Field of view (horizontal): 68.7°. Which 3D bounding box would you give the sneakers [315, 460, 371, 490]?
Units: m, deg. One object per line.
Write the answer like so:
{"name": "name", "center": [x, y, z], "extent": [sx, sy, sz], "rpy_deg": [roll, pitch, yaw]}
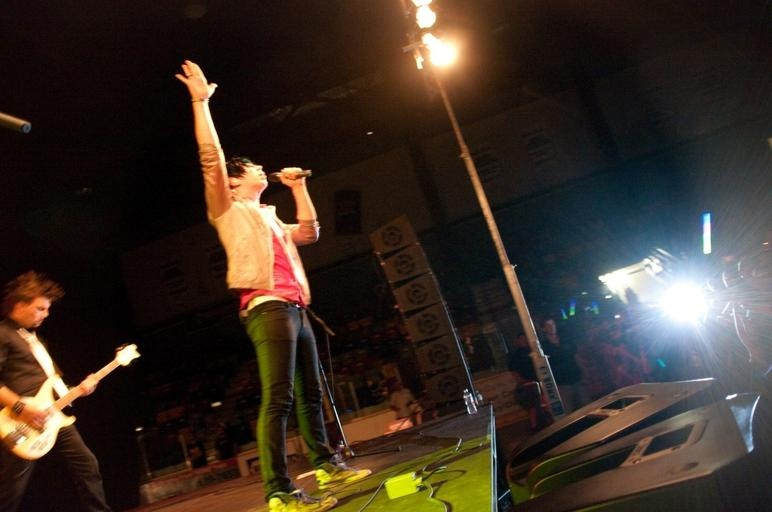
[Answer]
{"name": "sneakers", "center": [-0.505, 2.326, 6.006], "extent": [0.700, 0.252, 0.236], "rpy_deg": [-5, -3, -3]}

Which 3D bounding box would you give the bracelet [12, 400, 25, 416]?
{"name": "bracelet", "center": [-4.742, 1.944, 7.244], "extent": [0.110, 0.163, 0.095], "rpy_deg": [-33, -26, 32]}

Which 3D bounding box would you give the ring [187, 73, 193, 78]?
{"name": "ring", "center": [-2.087, -1.917, 5.979], "extent": [0.050, 0.043, 0.015], "rpy_deg": [-8, -1, -7]}

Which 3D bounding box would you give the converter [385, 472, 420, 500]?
{"name": "converter", "center": [0.165, 2.138, 5.271], "extent": [0.353, 0.187, 0.170], "rpy_deg": [-14, -22, -4]}
